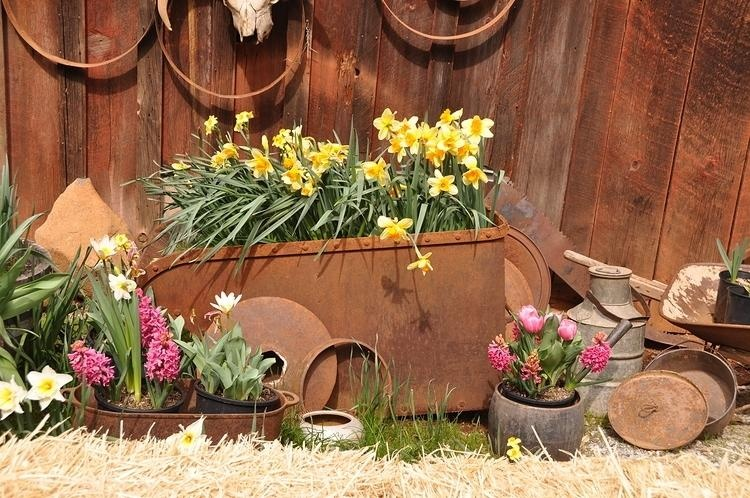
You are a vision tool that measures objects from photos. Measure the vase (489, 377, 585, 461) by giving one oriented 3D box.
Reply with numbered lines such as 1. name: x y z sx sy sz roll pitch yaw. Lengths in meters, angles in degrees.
1. vase: 0.736 0.759 3.269 0.289 0.270 0.315 0 -4 5

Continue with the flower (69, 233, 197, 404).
1. flower: -1.030 0.270 3.200 0.621 0.982 0.634 0 0 -11

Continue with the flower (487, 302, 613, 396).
1. flower: 0.777 0.439 3.326 0.392 0.380 0.478 1 14 -27

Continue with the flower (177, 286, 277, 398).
1. flower: -0.609 0.429 3.130 0.365 0.433 0.387 1 10 36

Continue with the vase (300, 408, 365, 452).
1. vase: -0.186 0.811 3.262 0.292 0.124 0.163 0 7 -11
